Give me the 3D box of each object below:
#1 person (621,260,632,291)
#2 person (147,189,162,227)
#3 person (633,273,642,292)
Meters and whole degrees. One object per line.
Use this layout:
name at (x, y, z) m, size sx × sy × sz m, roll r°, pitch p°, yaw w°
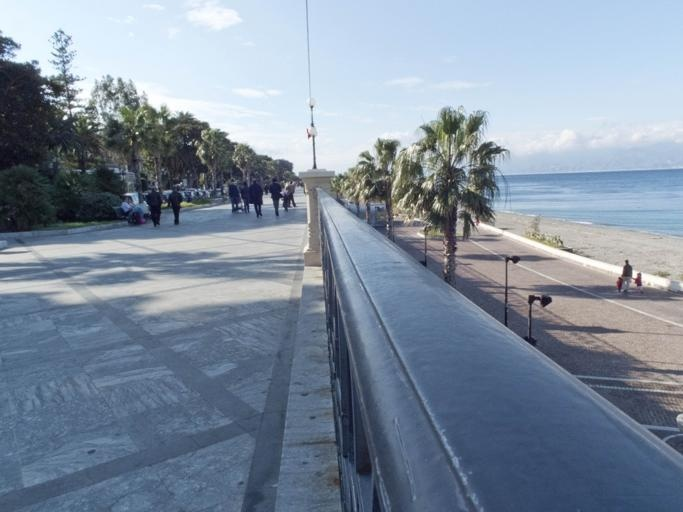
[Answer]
person at (13.096, 0.820, 22.489) m, size 0.387 × 1.548 × 1.632 m, roll 3°, pitch 11°, yaw 30°
person at (-7.876, -2.060, 20.638) m, size 0.509 × 1.508 × 1.961 m, roll -6°, pitch 10°, yaw -21°
person at (13.501, 1.185, 22.234) m, size 0.266 × 0.896 × 1.160 m, roll 4°, pitch 12°, yaw 31°
